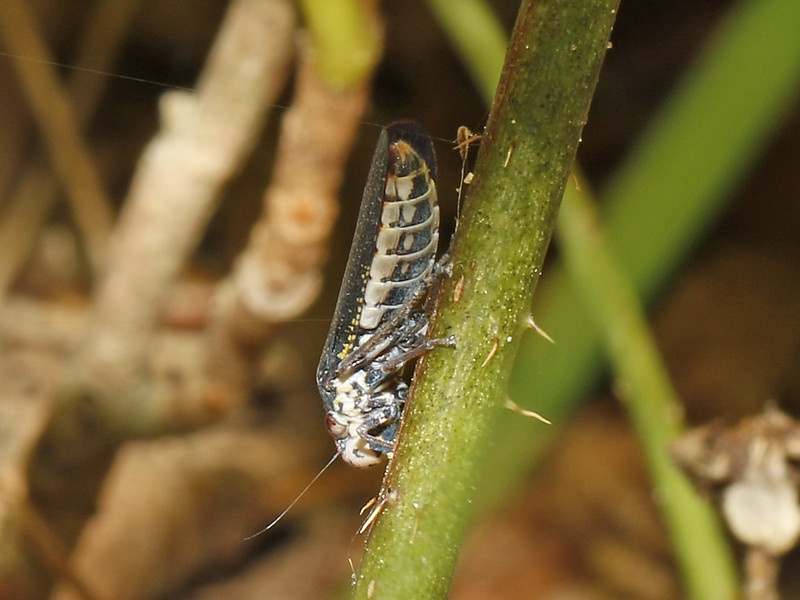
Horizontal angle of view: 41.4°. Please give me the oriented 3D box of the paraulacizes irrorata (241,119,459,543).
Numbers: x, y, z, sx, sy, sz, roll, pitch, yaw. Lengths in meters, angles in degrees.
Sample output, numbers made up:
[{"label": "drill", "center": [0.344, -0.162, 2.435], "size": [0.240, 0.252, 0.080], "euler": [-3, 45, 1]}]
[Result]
[{"label": "paraulacizes irrorata", "center": [-0.048, 0.019, 1.037], "size": [0.131, 0.390, 0.152], "euler": [5, 13, 10]}]
